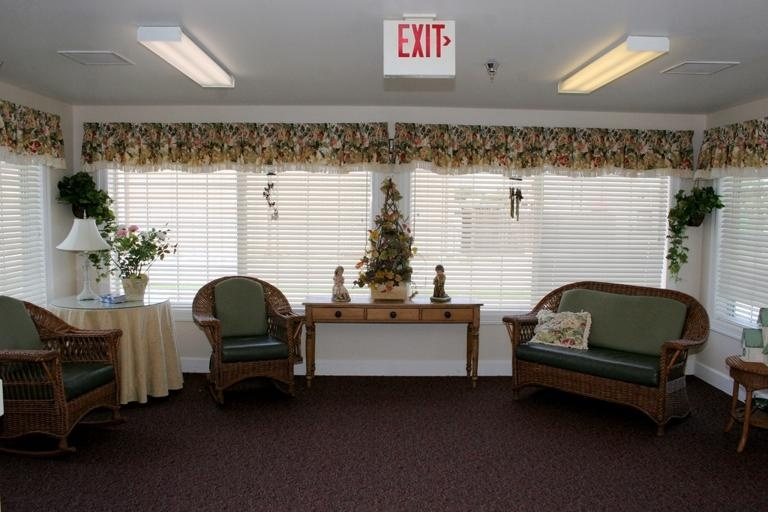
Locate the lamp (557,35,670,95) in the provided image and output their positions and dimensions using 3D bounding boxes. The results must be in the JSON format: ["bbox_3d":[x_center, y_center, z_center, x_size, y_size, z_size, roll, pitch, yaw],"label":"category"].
[{"bbox_3d":[2.106,-1.769,5.459,0.518,0.287,1.096,-4,6,-16],"label":"lamp"}]

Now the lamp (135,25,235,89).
[{"bbox_3d":[-1.822,-1.817,5.418,0.482,0.332,0.959,-1,6,9],"label":"lamp"}]

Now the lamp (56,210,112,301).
[{"bbox_3d":[-3.333,0.026,6.569,0.476,0.881,0.846,-5,6,-29],"label":"lamp"}]

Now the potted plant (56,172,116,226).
[{"bbox_3d":[-3.472,-0.641,7.048,0.588,0.625,0.599,6,-1,6],"label":"potted plant"}]

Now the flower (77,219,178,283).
[{"bbox_3d":[-2.804,-0.080,6.778,0.793,0.588,0.849,1,6,28],"label":"flower"}]

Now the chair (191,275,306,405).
[{"bbox_3d":[-1.523,0.904,6.672,1.159,1.271,0.873,-4,6,-19],"label":"chair"}]

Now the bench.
[{"bbox_3d":[2.475,1.045,6.488,1.879,1.316,1.125,1,6,29],"label":"bench"}]

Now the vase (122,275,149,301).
[{"bbox_3d":[-2.719,0.365,6.479,0.272,0.303,0.276,0,-7,-3],"label":"vase"}]

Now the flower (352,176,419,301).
[{"bbox_3d":[0.007,-0.197,6.921,0.701,1.435,0.486,-2,6,0],"label":"flower"}]
